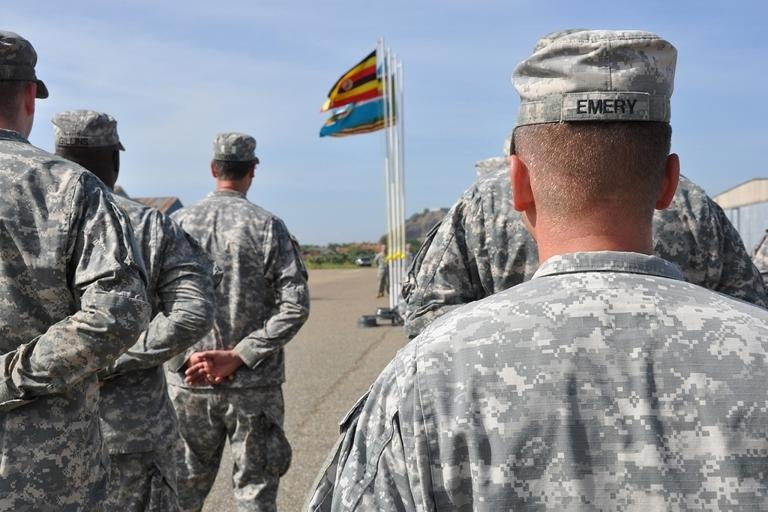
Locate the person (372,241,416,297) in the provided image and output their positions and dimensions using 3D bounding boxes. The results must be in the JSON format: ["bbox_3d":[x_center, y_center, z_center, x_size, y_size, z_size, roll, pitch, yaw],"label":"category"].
[{"bbox_3d":[0.121,0.185,26.306,0.822,0.956,0.337,3,-10,-5],"label":"person"}]
